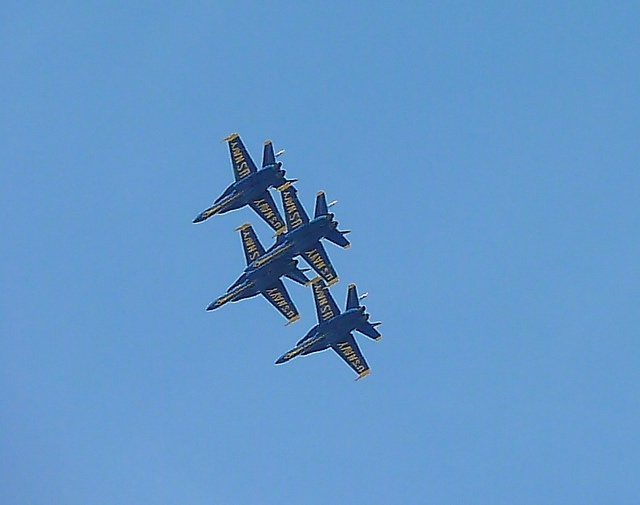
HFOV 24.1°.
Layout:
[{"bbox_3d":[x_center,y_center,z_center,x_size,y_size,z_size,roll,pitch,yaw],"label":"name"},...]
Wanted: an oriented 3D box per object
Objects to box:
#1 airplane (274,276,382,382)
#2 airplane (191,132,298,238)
[{"bbox_3d":[2.056,7.921,155.527,8.338,5.782,8.266,24,-37,3],"label":"airplane"},{"bbox_3d":[-7.071,-5.996,162.248,12.086,3.031,13.105,-23,-97,23],"label":"airplane"}]
